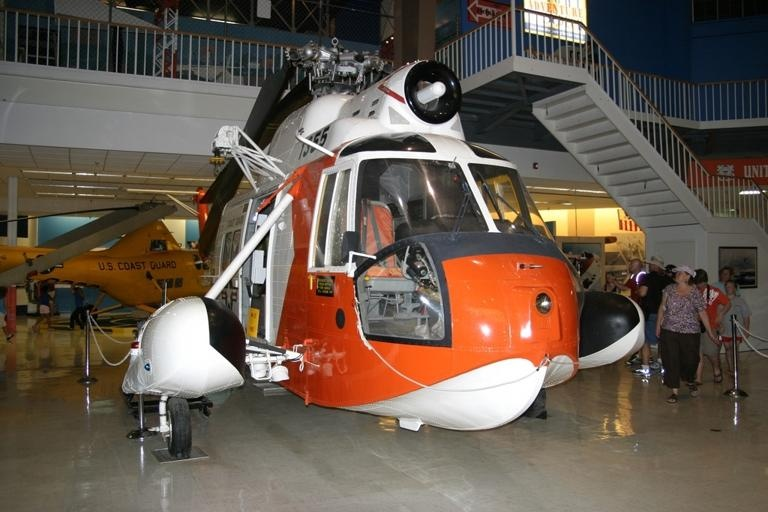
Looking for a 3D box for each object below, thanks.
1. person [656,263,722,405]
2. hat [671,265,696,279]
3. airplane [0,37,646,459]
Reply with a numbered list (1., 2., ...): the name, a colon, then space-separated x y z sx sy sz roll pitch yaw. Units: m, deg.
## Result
1. person: 5.079 1.290 10.073 0.784 2.282 0.556 -3 8 -19
2. hat: 5.005 0.216 9.937 0.336 0.104 0.337 6 -6 31
3. airplane: -1.361 -0.390 8.925 5.005 3.715 7.269 2 -4 -37
